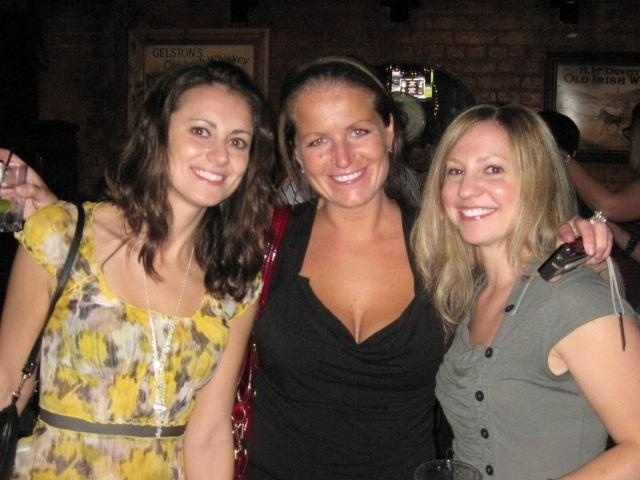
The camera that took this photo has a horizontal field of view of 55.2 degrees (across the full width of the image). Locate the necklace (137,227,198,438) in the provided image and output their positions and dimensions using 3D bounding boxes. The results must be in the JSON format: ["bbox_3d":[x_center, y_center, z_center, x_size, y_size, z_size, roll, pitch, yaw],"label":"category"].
[{"bbox_3d":[-0.601,0.423,2.465,0.239,0.529,0.194,2,1,-38],"label":"necklace"}]

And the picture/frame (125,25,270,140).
[{"bbox_3d":[-1.154,-1.406,5.793,1.356,1.118,0.098,1,-2,4],"label":"picture/frame"}]
